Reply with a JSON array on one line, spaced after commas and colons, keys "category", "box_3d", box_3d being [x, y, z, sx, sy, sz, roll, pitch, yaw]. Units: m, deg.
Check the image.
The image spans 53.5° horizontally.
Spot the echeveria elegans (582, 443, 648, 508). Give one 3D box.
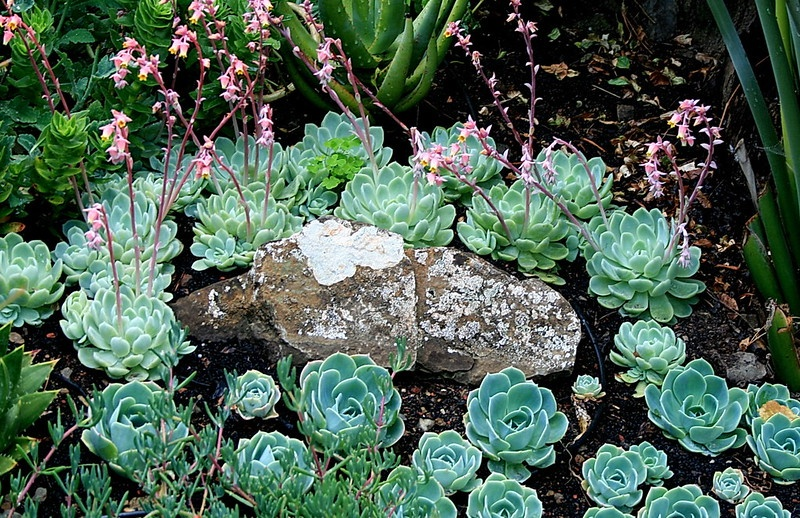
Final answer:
[{"category": "echeveria elegans", "box_3d": [0.977, 0.989, 3.629, 0.235, 0.131, 0.296, 11, 62, 3]}]

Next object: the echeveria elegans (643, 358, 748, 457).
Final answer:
[{"category": "echeveria elegans", "box_3d": [1.411, 0.719, 3.788, 0.404, 0.177, 0.473, -11, 62, -7]}]

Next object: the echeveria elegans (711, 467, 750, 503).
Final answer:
[{"category": "echeveria elegans", "box_3d": [1.510, 1.029, 3.633, 0.131, 0.078, 0.158, 7, 42, 12]}]

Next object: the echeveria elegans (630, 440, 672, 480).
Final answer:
[{"category": "echeveria elegans", "box_3d": [1.177, 0.939, 3.726, 0.149, 0.089, 0.187, 5, 29, -3]}]
